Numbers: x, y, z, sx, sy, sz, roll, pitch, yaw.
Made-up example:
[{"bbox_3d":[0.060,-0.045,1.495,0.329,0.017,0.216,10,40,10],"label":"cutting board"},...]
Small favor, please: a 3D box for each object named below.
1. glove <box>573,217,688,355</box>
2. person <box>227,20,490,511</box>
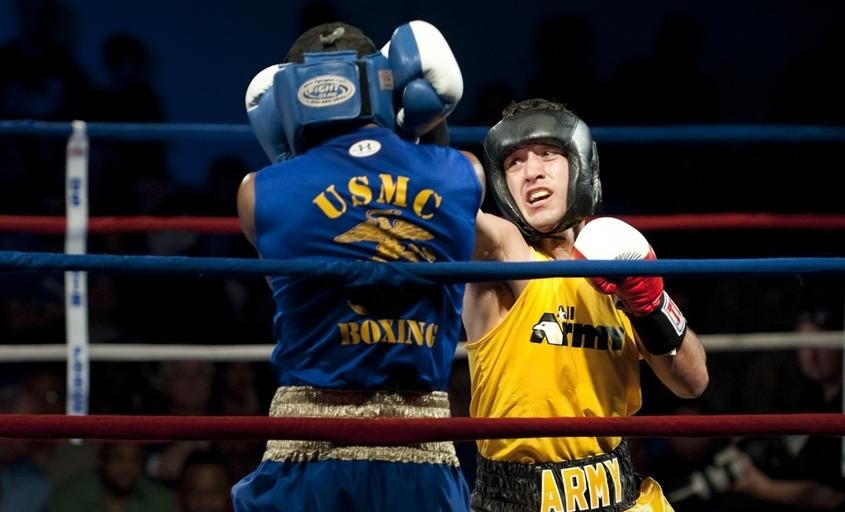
[{"bbox_3d":[1.053,0.164,5.950,0.475,0.749,0.313,-20,7,19],"label":"glove"},{"bbox_3d":[-0.356,0.054,5.575,1.202,2.487,0.465,-3,4,1],"label":"person"}]
